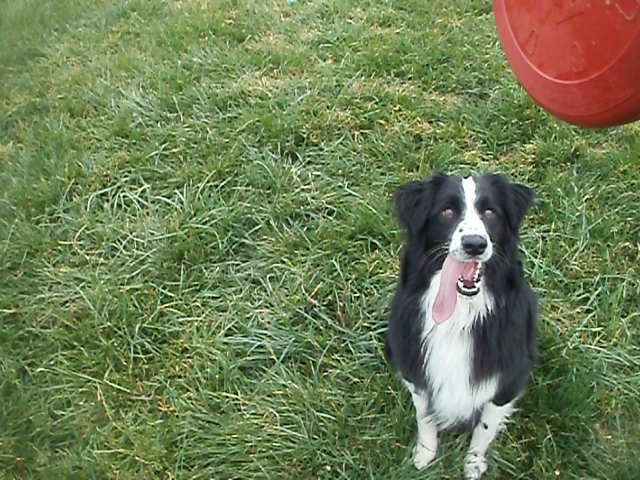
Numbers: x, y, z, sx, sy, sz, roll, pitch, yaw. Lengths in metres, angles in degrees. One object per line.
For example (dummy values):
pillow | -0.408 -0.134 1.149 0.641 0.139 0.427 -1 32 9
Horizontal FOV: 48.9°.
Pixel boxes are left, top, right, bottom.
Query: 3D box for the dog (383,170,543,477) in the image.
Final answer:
dog | 1.203 0.704 6.034 1.256 1.905 1.724 20 52 32
